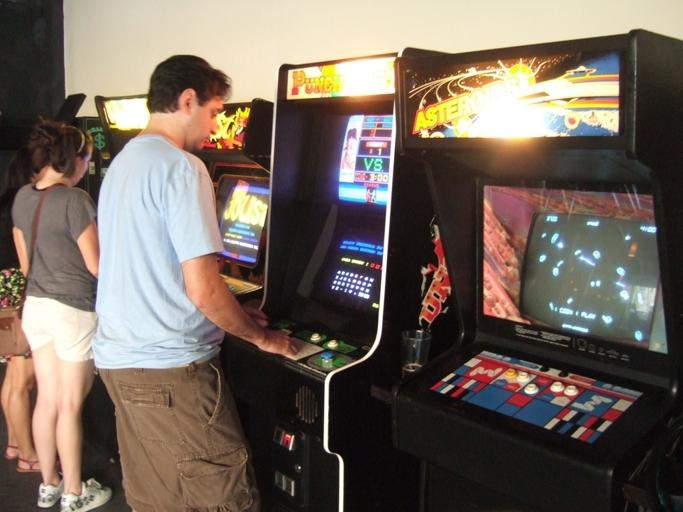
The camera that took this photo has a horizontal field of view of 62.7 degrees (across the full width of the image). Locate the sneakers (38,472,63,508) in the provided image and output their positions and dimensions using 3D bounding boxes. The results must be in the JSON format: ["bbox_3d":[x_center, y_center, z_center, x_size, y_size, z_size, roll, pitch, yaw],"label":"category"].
[{"bbox_3d":[-1.540,1.244,2.960,0.073,0.085,0.202,1,5,-7],"label":"sneakers"}]

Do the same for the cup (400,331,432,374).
[{"bbox_3d":[0.271,0.344,2.056,0.102,0.145,0.113,0,14,-2],"label":"cup"}]
